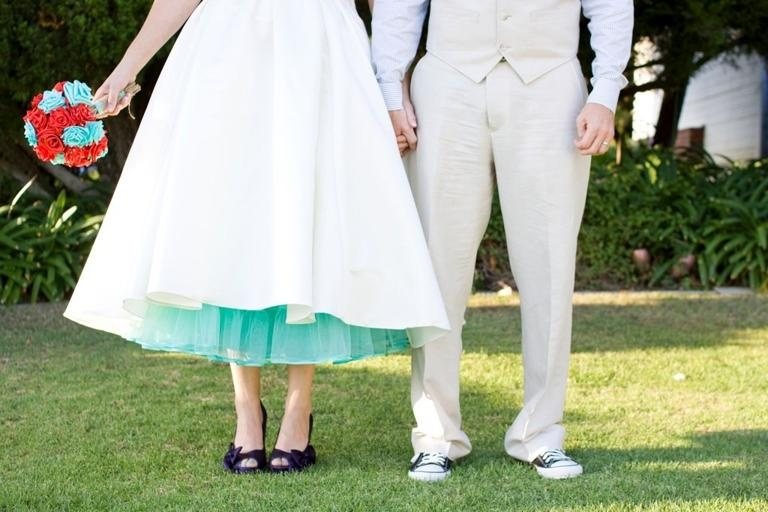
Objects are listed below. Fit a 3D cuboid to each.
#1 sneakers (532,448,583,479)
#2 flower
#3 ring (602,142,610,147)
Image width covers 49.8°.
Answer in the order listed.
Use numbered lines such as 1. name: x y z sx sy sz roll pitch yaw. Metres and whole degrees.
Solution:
1. sneakers: 0.702 0.823 3.340 0.088 0.075 0.189 -3 -3 -35
2. flower: -1.267 -0.541 3.462 0.418 0.327 0.292 -47 -7 -29
3. ring: 0.890 -0.454 3.338 0.021 0.022 0.005 2 -1 -26
